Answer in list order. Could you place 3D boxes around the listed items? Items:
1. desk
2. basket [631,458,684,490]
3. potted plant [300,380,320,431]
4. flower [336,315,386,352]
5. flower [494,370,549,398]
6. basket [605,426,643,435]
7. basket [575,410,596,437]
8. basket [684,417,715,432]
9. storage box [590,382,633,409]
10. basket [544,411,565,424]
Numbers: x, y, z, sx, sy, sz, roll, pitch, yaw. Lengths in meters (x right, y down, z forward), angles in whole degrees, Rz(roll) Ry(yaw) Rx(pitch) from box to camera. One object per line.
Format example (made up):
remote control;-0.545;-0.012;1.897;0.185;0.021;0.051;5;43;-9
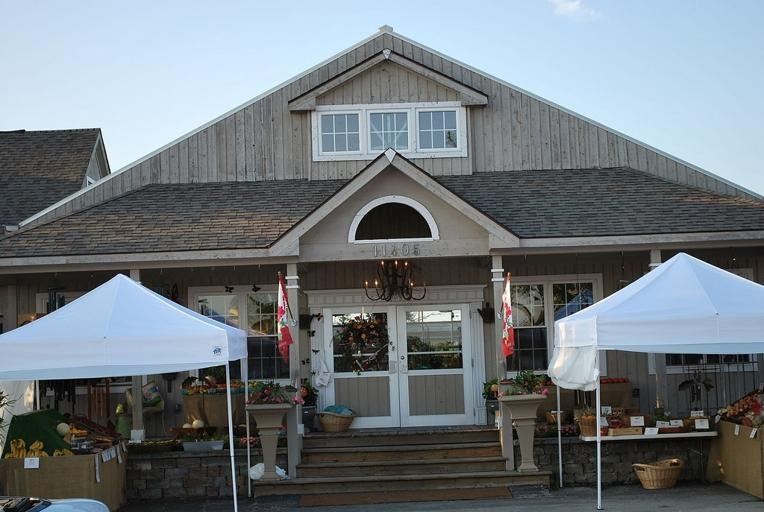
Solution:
desk;5.177;4.001;23.524;2.350;1.091;0.783;2;-6;2
basket;5.282;4.189;23.225;0.896;0.564;0.551;-2;-8;8
potted plant;-1.525;3.091;24.930;0.347;1.053;0.910;-1;-8;-3
flower;-0.430;1.660;25.312;0.892;0.730;0.366;-13;-1;-1
flower;2.693;2.498;23.407;0.910;0.528;0.376;-1;-8;0
basket;4.679;3.391;23.349;0.677;0.136;0.184;-2;-8;8
basket;3.931;3.258;23.441;0.357;0.402;0.407;1;-11;-1
basket;6.119;3.275;23.438;0.336;0.223;0.344;0;-4;2
storage box;4.668;2.831;24.741;0.849;0.856;0.489;0;-2;-1
basket;3.434;3.234;24.190;0.312;0.230;0.235;-2;3;-35
